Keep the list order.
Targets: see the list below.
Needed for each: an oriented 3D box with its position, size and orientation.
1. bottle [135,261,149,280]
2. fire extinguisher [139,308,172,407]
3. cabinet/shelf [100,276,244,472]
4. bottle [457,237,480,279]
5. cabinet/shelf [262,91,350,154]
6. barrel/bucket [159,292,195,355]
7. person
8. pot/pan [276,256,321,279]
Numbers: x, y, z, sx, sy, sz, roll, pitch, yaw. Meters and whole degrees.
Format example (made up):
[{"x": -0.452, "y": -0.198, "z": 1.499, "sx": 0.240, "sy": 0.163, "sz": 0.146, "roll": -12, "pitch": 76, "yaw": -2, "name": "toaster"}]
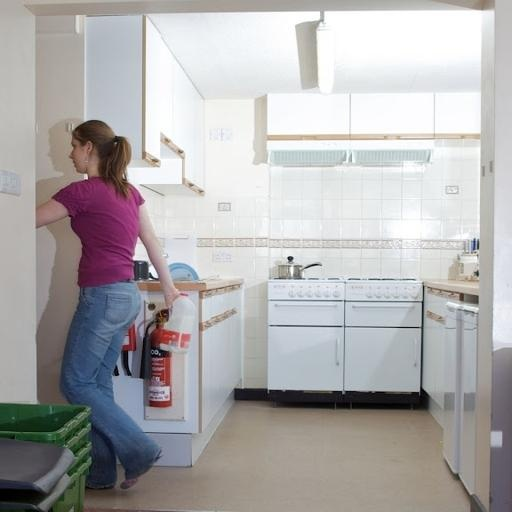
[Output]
[{"x": -0.617, "y": 0.074, "z": 2.760, "sx": 0.089, "sy": 0.091, "sz": 0.079, "roll": 0, "pitch": 3, "yaw": -5, "name": "bottle"}, {"x": -0.447, "y": 0.484, "z": 2.491, "sx": 0.204, "sy": 0.510, "sz": 0.139, "roll": -3, "pitch": 21, "yaw": -16, "name": "fire extinguisher"}, {"x": -0.334, "y": 0.628, "z": 3.123, "sx": 0.754, "sy": 1.262, "sz": 1.335, "roll": 1, "pitch": -1, "yaw": 6, "name": "cabinet/shelf"}, {"x": 1.639, "y": 0.010, "z": 3.959, "sx": 0.152, "sy": 0.332, "sz": 0.440, "roll": 0, "pitch": -2, "yaw": 22, "name": "bottle"}, {"x": 0.352, "y": -1.037, "z": 4.068, "sx": 0.792, "sy": 0.519, "sz": 0.203, "roll": 0, "pitch": -2, "yaw": 11, "name": "cabinet/shelf"}, {"x": -0.368, "y": 0.316, "z": 2.391, "sx": 0.162, "sy": 0.283, "sz": 0.126, "roll": 0, "pitch": -14, "yaw": 34, "name": "barrel/bucket"}, {"x": -0.628, "y": 0.235, "z": 2.180, "sx": 0.609, "sy": 1.583, "sz": 0.318, "roll": 2, "pitch": -2, "yaw": -28, "name": "person"}, {"x": 0.331, "y": 0.081, "z": 4.056, "sx": 0.304, "sy": 0.154, "sz": 0.174, "roll": 1, "pitch": 1, "yaw": 7, "name": "pot/pan"}]
